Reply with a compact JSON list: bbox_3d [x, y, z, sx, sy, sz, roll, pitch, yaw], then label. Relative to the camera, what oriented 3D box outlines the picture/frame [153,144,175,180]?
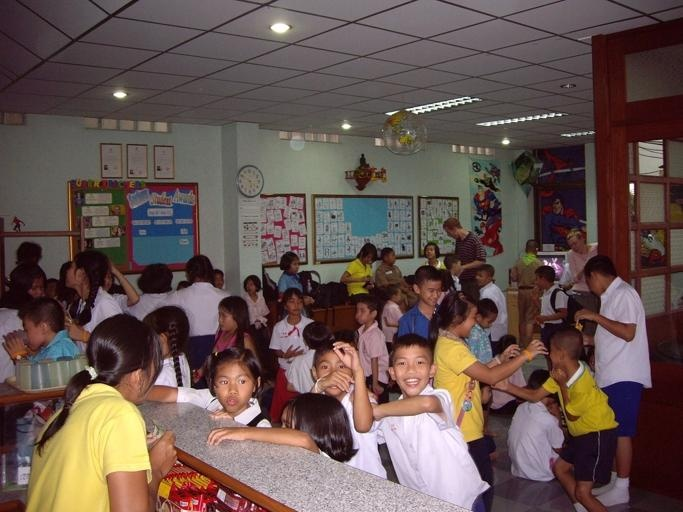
[{"bbox_3d":[-2.439,-1.286,6.927,0.256,0.463,0.016,-5,30,-25],"label":"picture/frame"}]

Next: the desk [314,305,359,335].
[{"bbox_3d":[-0.078,0.761,6.148,0.543,0.536,0.210,-3,11,-30],"label":"desk"}]

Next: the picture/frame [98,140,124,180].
[{"bbox_3d":[-3.010,-1.230,6.587,0.288,0.450,0.044,-6,5,-35],"label":"picture/frame"}]

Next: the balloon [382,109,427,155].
[{"bbox_3d":[0.600,-1.180,4.890,0.452,0.475,0.461,5,9,33],"label":"balloon"}]

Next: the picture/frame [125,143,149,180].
[{"bbox_3d":[-2.733,-1.261,6.740,0.260,0.464,0.012,-5,29,-29],"label":"picture/frame"}]

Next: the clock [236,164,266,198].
[{"bbox_3d":[-1.327,-1.075,7.295,0.398,0.427,0.054,-2,6,-27],"label":"clock"}]

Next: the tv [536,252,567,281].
[{"bbox_3d":[3.274,0.156,7.776,0.241,0.445,0.446,11,-6,-36],"label":"tv"}]

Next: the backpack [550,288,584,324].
[{"bbox_3d":[2.379,0.530,5.332,0.195,0.397,0.274,-22,9,2],"label":"backpack"}]
